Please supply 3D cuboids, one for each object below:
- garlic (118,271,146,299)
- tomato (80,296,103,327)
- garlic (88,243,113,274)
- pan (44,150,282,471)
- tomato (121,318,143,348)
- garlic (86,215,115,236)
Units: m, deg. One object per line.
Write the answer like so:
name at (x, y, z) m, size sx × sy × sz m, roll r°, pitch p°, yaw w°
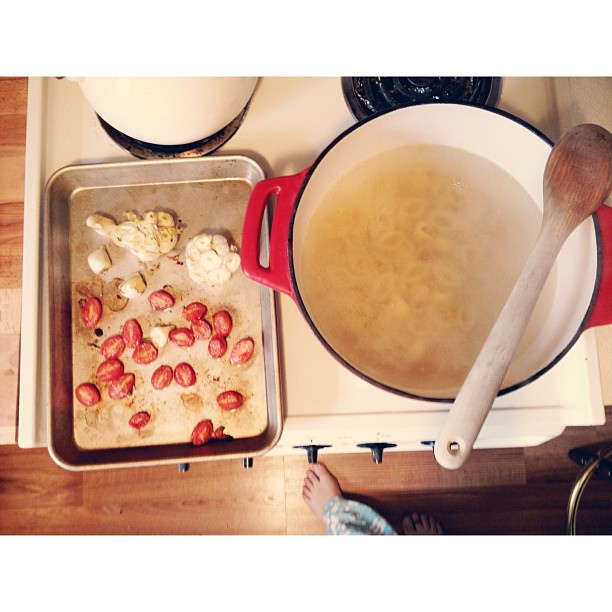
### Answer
garlic at (-0.276, -0.035, 1.043) m, size 0.040 × 0.016 × 0.034 m, roll -44°, pitch 103°, yaw -17°
tomato at (-0.343, 0.010, 1.057) m, size 0.033 × 0.013 × 0.043 m, roll 4°, pitch 92°, yaw -7°
garlic at (-0.331, -0.074, 1.055) m, size 0.036 × 0.020 × 0.038 m, roll -33°, pitch 101°, yaw -6°
pan at (-0.243, 0.026, 0.997) m, size 0.406 × 0.097 × 0.491 m, roll -4°, pitch 93°, yaw -1°
tomato at (-0.284, 0.044, 1.046) m, size 0.031 × 0.011 × 0.043 m, roll 1°, pitch 91°, yaw -3°
garlic at (-0.328, -0.131, 1.051) m, size 0.048 × 0.020 × 0.024 m, roll 25°, pitch 85°, yaw -11°
